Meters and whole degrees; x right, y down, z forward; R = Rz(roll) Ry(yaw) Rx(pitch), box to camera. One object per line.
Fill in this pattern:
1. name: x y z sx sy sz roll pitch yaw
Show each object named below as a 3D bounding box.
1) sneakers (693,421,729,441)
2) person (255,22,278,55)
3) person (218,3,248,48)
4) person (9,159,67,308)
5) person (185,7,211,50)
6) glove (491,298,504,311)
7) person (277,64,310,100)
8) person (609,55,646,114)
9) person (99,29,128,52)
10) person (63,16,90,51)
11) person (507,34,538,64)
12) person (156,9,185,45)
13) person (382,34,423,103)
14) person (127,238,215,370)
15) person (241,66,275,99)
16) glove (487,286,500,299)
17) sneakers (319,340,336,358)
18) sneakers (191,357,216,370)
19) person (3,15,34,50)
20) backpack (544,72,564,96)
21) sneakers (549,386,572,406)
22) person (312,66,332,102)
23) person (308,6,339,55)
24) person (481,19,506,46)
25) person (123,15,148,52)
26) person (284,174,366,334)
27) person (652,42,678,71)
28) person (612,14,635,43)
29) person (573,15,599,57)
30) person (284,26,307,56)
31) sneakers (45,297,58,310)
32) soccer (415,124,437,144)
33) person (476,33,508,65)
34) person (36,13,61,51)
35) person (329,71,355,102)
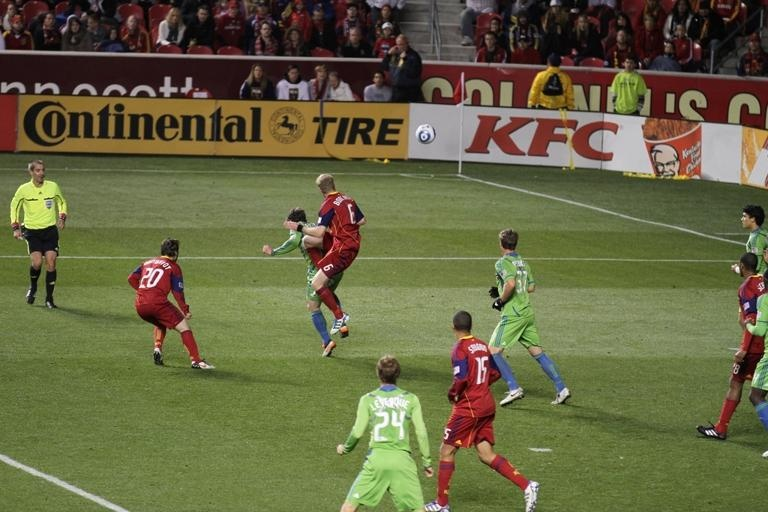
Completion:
1. sneakers: 6.030 3.188 26.926 0.592 0.278 0.221 9 -4 18
2. person: -3.663 -6.671 45.578 0.725 1.017 0.843 3 4 41
3. person: -4.881 -7.274 46.387 0.978 1.387 0.524 1 9 -6
4. person: -7.433 -0.513 31.680 1.001 2.987 1.221 -6 12 -44
5. person: -5.803 -7.035 45.835 0.813 1.273 0.431 2 20 -9
6. glove: 2.143 0.901 27.766 0.238 0.219 0.184 13 10 34
7. person: -2.787 -5.225 44.307 1.038 1.004 0.352 2 8 -3
8. person: 7.274 -5.001 43.536 1.014 1.646 1.062 3 8 8
9. person: -8.388 -6.591 44.975 0.659 0.693 0.694 -6 11 -42
10. person: -9.491 -6.746 44.744 0.835 1.017 0.552 0 9 -12
11. person: 4.442 -6.486 46.304 0.956 0.831 0.444 3 8 3
12. person: -6.705 -7.076 45.604 0.881 1.161 0.655 1 8 -9
13. person: 0.564 -5.160 44.961 1.095 2.994 1.010 6 18 29
14. person: -4.295 0.920 28.638 1.521 2.465 0.466 3 9 9
15. person: -3.850 -5.206 44.259 1.138 1.128 0.663 -1 9 -9
16. glove: 2.081 0.687 27.765 0.170 0.107 0.223 -3 -18 4
17. sneakers: -1.137 1.877 29.473 0.176 0.422 0.181 14 29 -26
18. sneakers: -3.591 2.079 28.725 0.524 0.213 0.171 2 12 -10
19. person: -11.209 -6.782 44.679 0.854 1.021 0.593 0 9 -15
20. backpack: 5.029 -5.084 43.383 0.616 0.623 0.233 3 6 3
21. sneakers: 3.359 2.678 27.856 0.197 0.529 0.221 16 48 -21
22. person: -1.991 -5.250 44.473 0.553 1.044 0.886 2 8 -3
23. person: -1.956 -7.102 46.025 0.986 1.418 0.449 0 9 -13
24. person: 3.539 -7.050 46.161 0.666 0.854 0.867 0 6 -1
25. person: -7.662 -6.752 44.895 0.825 1.059 0.426 1 9 -10
26. person: -1.098 -0.048 29.771 1.287 3.199 0.844 2 8 2
27. person: 8.865 -6.219 45.943 0.828 1.007 0.408 12 -9 8
28. person: 7.433 -7.309 46.769 0.784 0.850 0.609 2 35 35
29. person: 6.453 -6.909 46.511 0.962 1.305 0.529 3 8 6
30. person: -2.809 -6.605 45.526 0.970 0.917 0.520 -1 2 -9
31. sneakers: -7.175 1.008 31.294 0.360 0.242 0.122 3 8 22
32. soccer: 1.229 -3.664 43.903 0.616 0.605 0.695 2 8 1
33. person: 3.346 -6.469 45.939 0.922 0.944 0.884 -1 9 -20
34. person: -10.376 -6.842 44.960 0.816 1.096 0.535 0 9 -15
35. person: -1.352 -5.125 44.477 0.820 0.818 1.678 3 8 6
